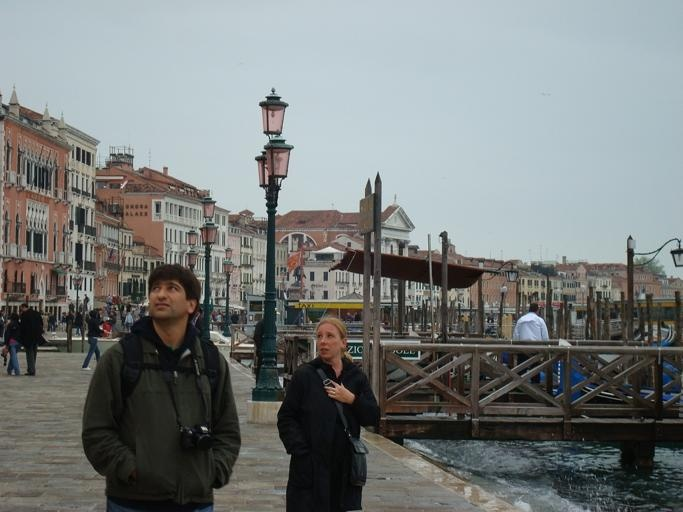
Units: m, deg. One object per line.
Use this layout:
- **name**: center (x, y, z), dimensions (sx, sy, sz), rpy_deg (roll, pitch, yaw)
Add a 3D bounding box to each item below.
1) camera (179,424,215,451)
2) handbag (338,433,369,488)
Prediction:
- **camera**: center (-1.209, 1.535, 10.256), dimensions (0.210, 0.162, 0.211), rpy_deg (4, -9, -27)
- **handbag**: center (0.140, 1.978, 11.694), dimensions (0.207, 0.380, 0.250), rpy_deg (-15, -21, 32)
